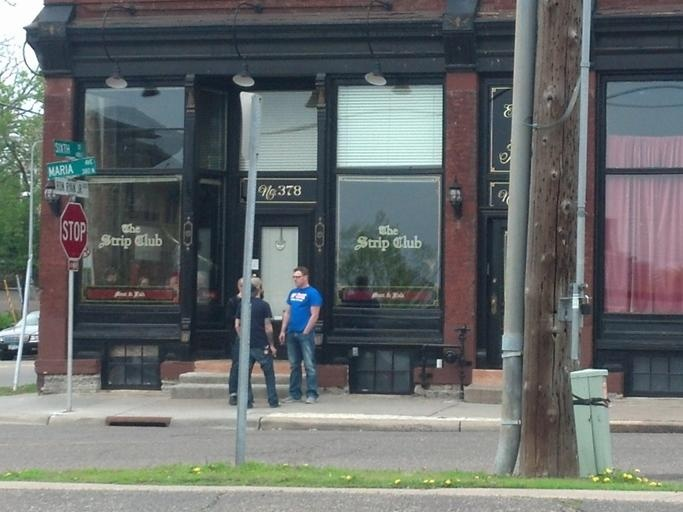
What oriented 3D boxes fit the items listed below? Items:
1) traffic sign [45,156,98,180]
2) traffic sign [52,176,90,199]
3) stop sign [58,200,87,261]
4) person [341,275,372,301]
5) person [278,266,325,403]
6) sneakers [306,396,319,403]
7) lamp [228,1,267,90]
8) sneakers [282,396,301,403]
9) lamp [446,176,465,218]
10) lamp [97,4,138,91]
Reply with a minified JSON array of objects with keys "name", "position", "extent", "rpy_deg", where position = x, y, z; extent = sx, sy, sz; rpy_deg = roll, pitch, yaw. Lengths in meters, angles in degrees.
[{"name":"traffic sign","position":[-4.928,-1.602,29.065],"extent":[0.841,0.347,0.615],"rpy_deg":[-3,9,-14]},{"name":"traffic sign","position":[-5.014,-1.261,29.331],"extent":[0.526,0.289,0.067],"rpy_deg":[2,-1,-43]},{"name":"stop sign","position":[-4.849,-0.452,28.649],"extent":[0.300,1.038,0.620],"rpy_deg":[5,10,36]},{"name":"person","position":[0.296,0.651,30.795],"extent":[0.825,0.556,0.435],"rpy_deg":[1,0,6]},{"name":"person","position":[-0.794,1.434,29.535],"extent":[0.755,2.441,0.752],"rpy_deg":[2,9,18]},{"name":"sneakers","position":[-0.572,2.622,29.357],"extent":[0.221,0.123,0.236],"rpy_deg":[-2,8,-7]},{"name":"lamp","position":[-1.824,-4.054,30.769],"extent":[0.594,1.740,1.535],"rpy_deg":[-2,8,-4]},{"name":"sneakers","position":[-0.958,2.634,29.534],"extent":[0.293,0.120,0.124],"rpy_deg":[3,1,0]},{"name":"lamp","position":[2.132,-1.084,30.026],"extent":[0.290,0.714,0.214],"rpy_deg":[-1,8,1]},{"name":"lamp","position":[-4.321,-4.047,30.761],"extent":[0.659,1.680,1.273],"rpy_deg":[-2,8,-4]}]
